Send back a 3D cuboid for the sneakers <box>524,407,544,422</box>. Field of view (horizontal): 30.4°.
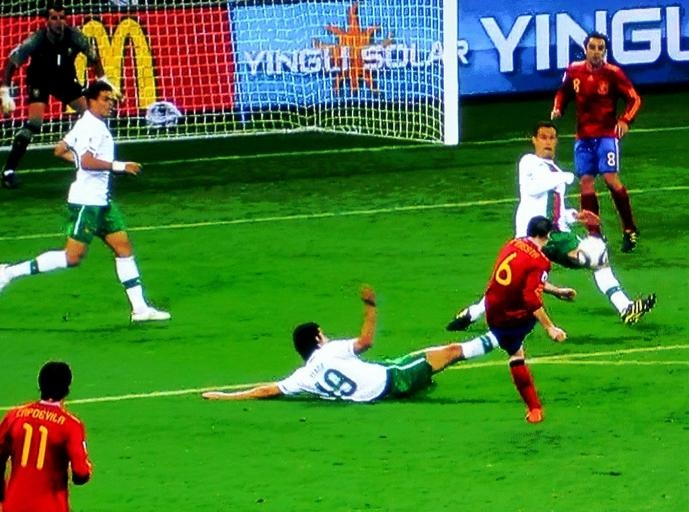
[{"bbox_3d":[1.535,1.274,10.228,0.155,0.124,0.138,-2,10,-1],"label":"sneakers"}]

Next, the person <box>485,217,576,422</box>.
[{"bbox_3d":[1.484,0.478,10.520,0.634,1.590,0.959,-6,11,-19],"label":"person"}]

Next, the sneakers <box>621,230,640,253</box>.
[{"bbox_3d":[3.173,-0.160,14.092,0.178,0.235,0.059,5,9,19],"label":"sneakers"}]

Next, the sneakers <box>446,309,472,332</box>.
[{"bbox_3d":[1.082,0.619,11.737,0.074,0.228,0.179,37,21,-19],"label":"sneakers"}]

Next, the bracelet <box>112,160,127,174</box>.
[{"bbox_3d":[-2.149,-0.845,12.052,0.147,0.125,0.565,-4,10,-10],"label":"bracelet"}]

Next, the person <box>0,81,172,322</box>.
[{"bbox_3d":[-2.478,-0.497,12.174,1.365,2.347,0.524,0,11,11],"label":"person"}]

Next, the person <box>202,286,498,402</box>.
[{"bbox_3d":[0.105,0.892,10.508,1.773,0.591,1.199,5,-9,-39],"label":"person"}]
